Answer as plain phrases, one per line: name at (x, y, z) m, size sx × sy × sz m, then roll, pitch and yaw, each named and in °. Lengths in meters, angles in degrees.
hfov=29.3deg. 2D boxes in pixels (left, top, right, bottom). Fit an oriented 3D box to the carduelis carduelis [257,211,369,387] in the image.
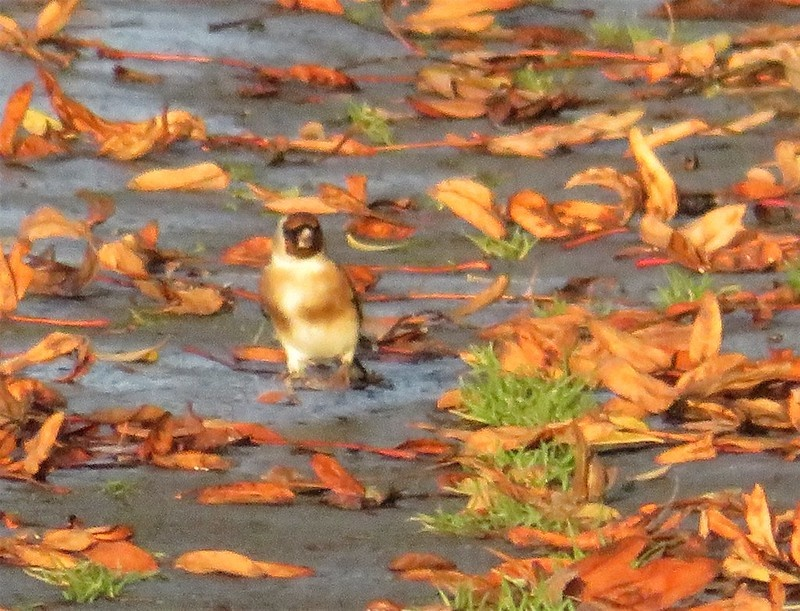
carduelis carduelis at (-0.141, -0.012, 2.411) m, size 0.161 × 0.263 × 0.119 m, roll -2°, pitch 28°, yaw -4°
